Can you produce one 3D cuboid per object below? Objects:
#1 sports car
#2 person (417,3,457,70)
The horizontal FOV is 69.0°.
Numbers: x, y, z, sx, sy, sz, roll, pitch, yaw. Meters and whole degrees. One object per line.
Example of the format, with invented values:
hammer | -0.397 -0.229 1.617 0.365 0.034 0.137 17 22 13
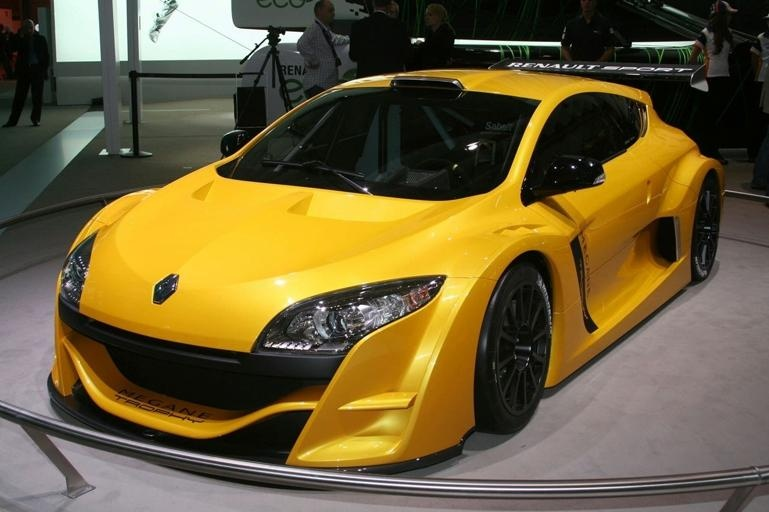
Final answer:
sports car | 0.425 0.068 3.250 1.978 1.248 3.356 11 19 39
person | 0.752 -3.089 7.909 0.467 0.868 0.720 5 21 6
